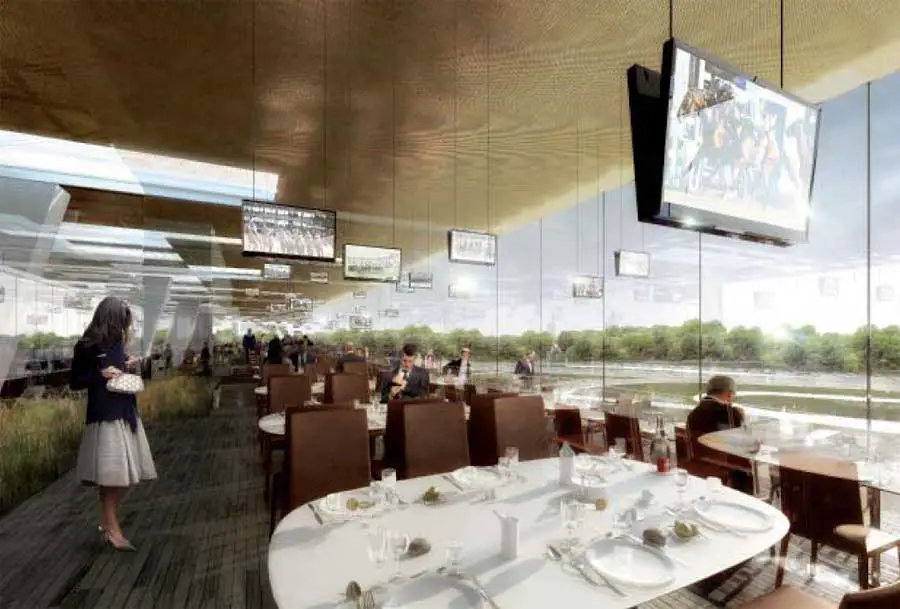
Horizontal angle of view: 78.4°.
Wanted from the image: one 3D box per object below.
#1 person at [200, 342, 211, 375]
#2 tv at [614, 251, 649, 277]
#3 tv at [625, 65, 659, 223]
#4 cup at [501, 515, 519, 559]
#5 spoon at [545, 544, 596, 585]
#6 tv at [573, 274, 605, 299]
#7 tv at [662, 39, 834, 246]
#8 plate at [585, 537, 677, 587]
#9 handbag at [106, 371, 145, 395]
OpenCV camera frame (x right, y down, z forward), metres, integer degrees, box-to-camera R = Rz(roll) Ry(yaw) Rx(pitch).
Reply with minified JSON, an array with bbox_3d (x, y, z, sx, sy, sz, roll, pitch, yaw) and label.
[{"bbox_3d":[-5.493,1.241,12.470,0.156,0.637,0.751,-4,14,-18],"label":"person"},{"bbox_3d":[3.418,-0.753,10.467,0.777,0.618,0.427,1,4,-8],"label":"tv"},{"bbox_3d":[1.803,-1.491,5.138,0.339,1.402,0.348,2,13,8],"label":"tv"},{"bbox_3d":[0.529,2.033,4.835,0.137,0.351,0.115,-2,13,-9],"label":"cup"},{"bbox_3d":[1.053,2.236,4.800,0.153,0.050,0.586,-14,21,-26],"label":"spoon"},{"bbox_3d":[2.867,-0.365,11.491,0.722,0.523,0.225,-4,13,-19],"label":"tv"},{"bbox_3d":[3.047,-1.765,5.653,2.392,1.902,0.337,8,2,-22],"label":"tv"},{"bbox_3d":[1.593,2.234,4.796,0.441,0.086,0.373,4,14,13],"label":"plate"},{"bbox_3d":[-3.868,0.941,6.609,0.279,0.073,0.289,9,19,-30],"label":"handbag"}]
